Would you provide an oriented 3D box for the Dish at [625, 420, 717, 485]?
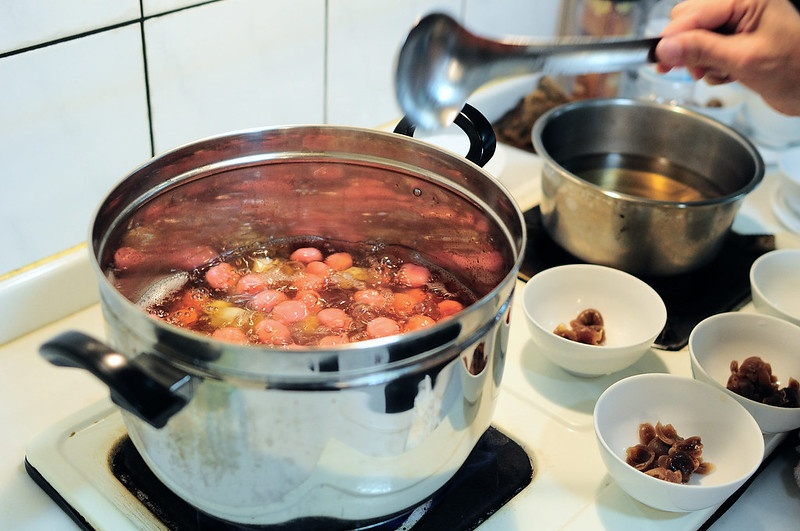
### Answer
[{"bbox_3d":[0.354,0.241,0.876,0.086,0.030,0.081,8,22,11],"label":"Dish"}]

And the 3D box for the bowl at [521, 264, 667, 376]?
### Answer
[{"bbox_3d":[0.296,0.105,1.064,0.200,0.089,0.184,0,40,0],"label":"bowl"}]

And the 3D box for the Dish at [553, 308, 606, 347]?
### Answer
[{"bbox_3d":[0.279,0.093,1.027,0.063,0.025,0.060,-19,25,-19],"label":"Dish"}]

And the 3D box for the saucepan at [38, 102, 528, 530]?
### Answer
[{"bbox_3d":[-0.117,0.057,0.838,0.499,0.304,0.446,9,42,10],"label":"saucepan"}]
